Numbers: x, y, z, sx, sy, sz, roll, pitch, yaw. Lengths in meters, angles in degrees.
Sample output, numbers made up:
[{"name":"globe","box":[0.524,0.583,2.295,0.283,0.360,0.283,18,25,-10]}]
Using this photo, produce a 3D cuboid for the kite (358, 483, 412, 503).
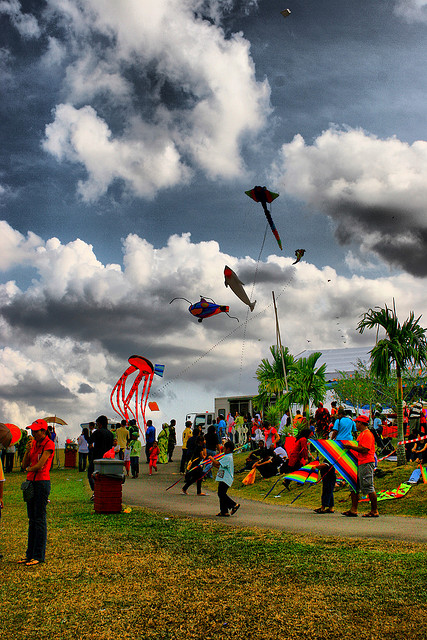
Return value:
[{"name":"kite","box":[4.301,4.199,15.366,1.426,0.087,0.823,-13,8,-40]}]

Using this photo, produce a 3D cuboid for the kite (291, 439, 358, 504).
[{"name":"kite","box":[2.651,3.147,13.864,1.034,1.042,0.657,-3,-8,25]}]

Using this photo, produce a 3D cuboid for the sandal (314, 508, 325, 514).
[{"name":"sandal","box":[2.346,4.246,14.110,0.072,0.081,0.208,23,-11,-30]}]

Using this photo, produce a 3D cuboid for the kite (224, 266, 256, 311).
[{"name":"kite","box":[0.791,-1.109,20.579,0.861,1.335,1.976,0,-6,1]}]

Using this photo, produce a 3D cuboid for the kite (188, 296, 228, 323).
[{"name":"kite","box":[-0.233,-0.308,22.812,1.093,0.898,0.646,-15,-19,8]}]

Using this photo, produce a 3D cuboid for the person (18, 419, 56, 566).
[{"name":"person","box":[-2.453,2.403,8.802,0.418,1.985,0.931,2,-7,-16]}]

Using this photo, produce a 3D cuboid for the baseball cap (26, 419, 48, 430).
[{"name":"baseball cap","box":[-2.465,1.490,8.963,0.135,0.133,0.341,-4,-8,35]}]

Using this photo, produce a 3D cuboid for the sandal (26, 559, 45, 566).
[{"name":"sandal","box":[-2.476,3.362,8.814,0.245,0.077,0.064,6,-9,-40]}]

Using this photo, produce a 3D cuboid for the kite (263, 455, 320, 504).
[{"name":"kite","box":[2.330,4.478,17.977,0.789,0.751,0.986,-3,-5,-34]}]

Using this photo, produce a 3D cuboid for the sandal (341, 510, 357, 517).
[{"name":"sandal","box":[2.861,4.073,13.386,0.278,0.092,0.099,4,-9,20]}]

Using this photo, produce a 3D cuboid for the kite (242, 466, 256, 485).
[{"name":"kite","box":[1.160,5.038,20.635,0.402,0.599,0.792,0,-7,2]}]

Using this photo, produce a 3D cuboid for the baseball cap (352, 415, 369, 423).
[{"name":"baseball cap","box":[3.038,2.038,13.004,0.289,0.136,0.179,0,-10,11]}]
